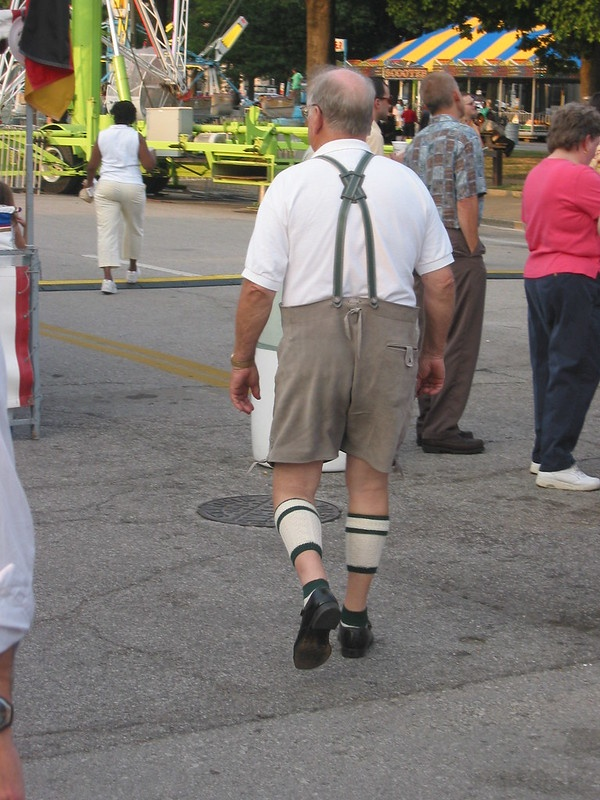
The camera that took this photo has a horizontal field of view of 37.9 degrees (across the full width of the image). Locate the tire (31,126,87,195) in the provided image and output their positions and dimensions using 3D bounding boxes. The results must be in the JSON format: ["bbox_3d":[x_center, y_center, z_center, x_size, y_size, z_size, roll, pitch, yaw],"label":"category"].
[{"bbox_3d":[-6.076,-6.063,22.168,1.238,1.520,2.877,-1,10,-15],"label":"tire"}]

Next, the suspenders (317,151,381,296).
[{"bbox_3d":[0.145,-0.517,2.605,0.170,0.450,0.197,2,11,-1],"label":"suspenders"}]

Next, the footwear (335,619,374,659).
[{"bbox_3d":[0.168,0.772,2.807,0.071,0.063,0.164,1,3,7],"label":"footwear"}]

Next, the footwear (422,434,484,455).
[{"bbox_3d":[0.936,0.272,5.403,0.386,0.142,0.136,-3,5,-3],"label":"footwear"}]

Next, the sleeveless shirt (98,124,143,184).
[{"bbox_3d":[-2.213,-3.012,10.706,0.523,0.711,0.381,0,11,-11],"label":"sleeveless shirt"}]

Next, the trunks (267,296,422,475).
[{"bbox_3d":[0.143,-0.051,2.715,0.520,0.468,0.339,2,2,-5],"label":"trunks"}]

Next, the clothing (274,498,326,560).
[{"bbox_3d":[0.000,0.387,2.615,0.125,0.169,0.177,0,10,-10],"label":"clothing"}]

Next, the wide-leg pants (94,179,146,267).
[{"bbox_3d":[-2.254,-2.162,10.771,0.479,1.066,0.727,5,11,13],"label":"wide-leg pants"}]

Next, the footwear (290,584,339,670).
[{"bbox_3d":[0.040,0.629,2.428,0.108,0.243,0.119,8,28,-18],"label":"footwear"}]
